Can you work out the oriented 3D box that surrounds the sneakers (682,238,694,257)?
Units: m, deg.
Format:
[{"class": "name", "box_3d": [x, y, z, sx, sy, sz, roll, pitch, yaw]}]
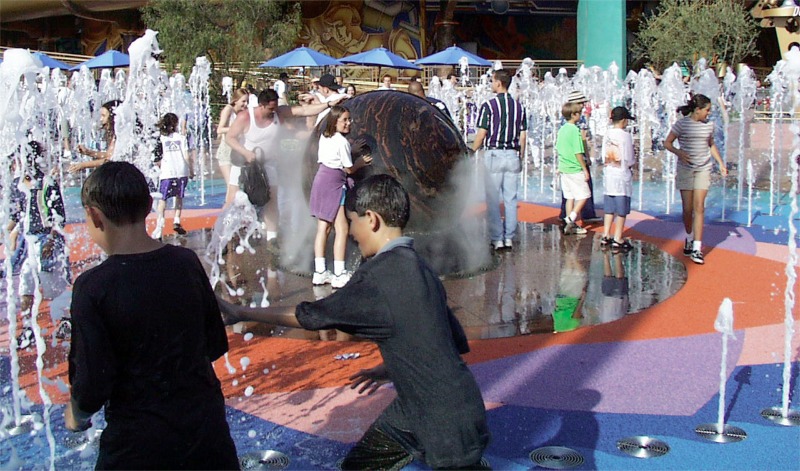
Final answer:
[{"class": "sneakers", "box_3d": [4.631, 0.186, 9.118, 0.150, 0.186, 0.446, 4, 23, 15]}]

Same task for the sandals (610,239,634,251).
[{"class": "sandals", "box_3d": [3.751, 0.153, 9.468, 0.485, 0.199, 0.174, -1, 8, -19]}]

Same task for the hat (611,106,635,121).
[{"class": "hat", "box_3d": [3.671, -2.015, 9.373, 0.380, 0.203, 0.261, -11, 20, -29]}]

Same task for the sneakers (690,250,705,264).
[{"class": "sneakers", "box_3d": [4.660, 0.314, 8.831, 0.222, 0.197, 0.271, 4, 15, 16]}]

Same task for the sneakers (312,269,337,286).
[{"class": "sneakers", "box_3d": [-1.038, 0.584, 7.773, 0.204, 0.132, 0.256, 0, 7, 17]}]

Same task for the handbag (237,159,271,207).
[{"class": "handbag", "box_3d": [-2.309, -0.818, 8.976, 0.500, 0.661, 0.293, -5, 0, -36]}]

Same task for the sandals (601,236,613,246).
[{"class": "sandals", "box_3d": [3.497, 0.093, 9.570, 0.164, 0.173, 0.444, 0, 0, 18]}]
